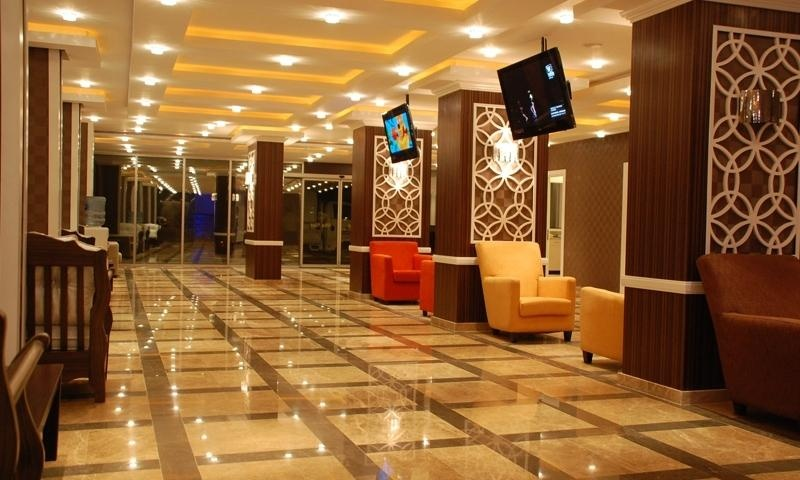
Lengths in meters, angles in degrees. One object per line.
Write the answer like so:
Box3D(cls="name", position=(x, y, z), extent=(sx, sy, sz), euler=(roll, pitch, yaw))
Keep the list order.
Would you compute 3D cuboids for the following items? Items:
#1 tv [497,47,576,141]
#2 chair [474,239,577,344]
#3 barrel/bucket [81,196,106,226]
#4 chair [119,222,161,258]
Box3D(cls="tv", position=(1.790, -2.005, 7.409), extent=(0.206, 1.215, 1.426), euler=(-22, 13, -23))
Box3D(cls="chair", position=(1.915, 0.749, 8.375), extent=(1.224, 1.479, 0.917), euler=(-3, 4, -17))
Box3D(cls="barrel/bucket", position=(-6.457, -0.616, 11.674), extent=(0.387, 0.620, 0.573), euler=(-4, 5, -24))
Box3D(cls="chair", position=(-8.726, 0.008, 18.833), extent=(1.095, 1.159, 1.220), euler=(0, -6, 3))
